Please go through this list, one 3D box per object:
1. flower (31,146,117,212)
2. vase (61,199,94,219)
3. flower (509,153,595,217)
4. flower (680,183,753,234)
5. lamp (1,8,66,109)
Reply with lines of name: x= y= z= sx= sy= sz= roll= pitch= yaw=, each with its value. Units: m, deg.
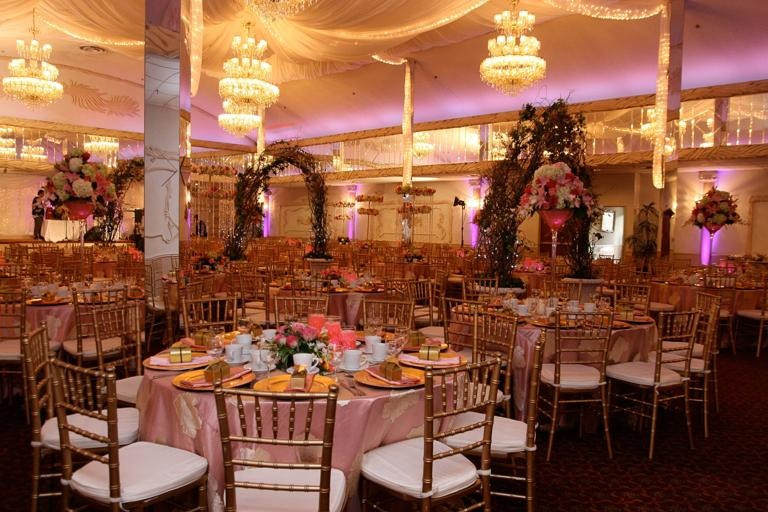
flower: x=-3.841 y=-0.919 z=7.513 sx=0.793 sy=0.867 sz=0.817 roll=3 pitch=6 yaw=27
vase: x=-3.932 y=-0.597 z=7.551 sx=0.304 sy=0.201 sz=0.308 roll=-4 pitch=-2 yaw=40
flower: x=2.072 y=-0.808 z=7.108 sx=0.657 sy=0.594 sz=0.668 roll=-4 pitch=-2 yaw=15
flower: x=5.851 y=-0.787 z=10.401 sx=0.734 sy=0.807 sz=0.414 roll=0 pitch=0 yaw=28
lamp: x=-6.650 y=-3.774 z=11.115 sx=0.868 sy=1.787 sz=0.887 roll=2 pitch=3 yaw=-9
